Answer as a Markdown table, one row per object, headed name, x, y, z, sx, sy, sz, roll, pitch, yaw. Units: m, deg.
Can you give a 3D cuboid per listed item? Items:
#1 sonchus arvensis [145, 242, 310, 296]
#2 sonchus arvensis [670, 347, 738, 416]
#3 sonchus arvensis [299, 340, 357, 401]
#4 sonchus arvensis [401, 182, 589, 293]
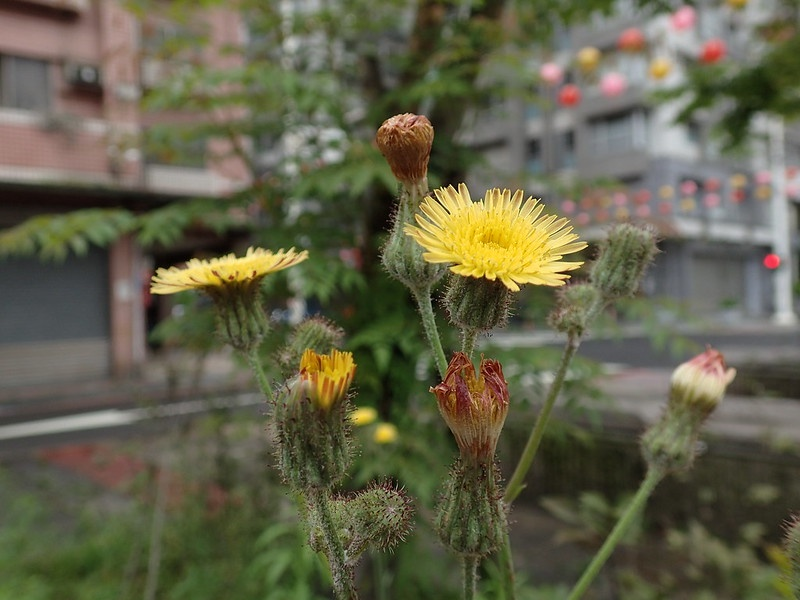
| name | x | y | z | sx | sy | sz | roll | pitch | yaw |
| --- | --- | --- | --- | --- | --- | --- | --- | --- | --- |
| sonchus arvensis | -0.372 | -0.069 | 1.765 | 0.317 | 0.081 | 0.337 | 4 | 22 | 38 |
| sonchus arvensis | 0.667 | 0.177 | 1.646 | 0.125 | 0.138 | 0.064 | 3 | 9 | -9 |
| sonchus arvensis | -0.145 | 0.153 | 1.533 | 0.096 | 0.119 | 0.108 | -6 | 21 | -20 |
| sonchus arvensis | 0.270 | -0.148 | 1.713 | 0.460 | 0.189 | 0.474 | -4 | 1 | -17 |
